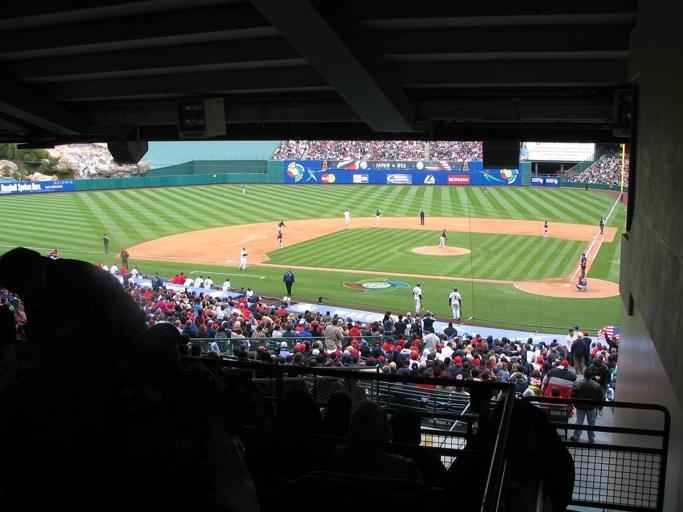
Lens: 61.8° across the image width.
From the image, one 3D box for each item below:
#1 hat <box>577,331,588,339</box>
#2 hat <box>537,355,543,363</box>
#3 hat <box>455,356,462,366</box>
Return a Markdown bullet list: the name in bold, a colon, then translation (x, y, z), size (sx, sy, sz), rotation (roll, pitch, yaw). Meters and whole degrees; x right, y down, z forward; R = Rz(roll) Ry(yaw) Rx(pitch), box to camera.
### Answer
- **hat**: translation (6.284, 2.063, 14.881), size (0.184, 0.208, 0.217), rotation (12, 35, 12)
- **hat**: translation (4.508, 2.317, 12.900), size (0.123, 0.151, 0.162), rotation (-3, 6, 6)
- **hat**: translation (2.356, 2.128, 11.522), size (0.132, 0.152, 0.162), rotation (20, 37, 28)
